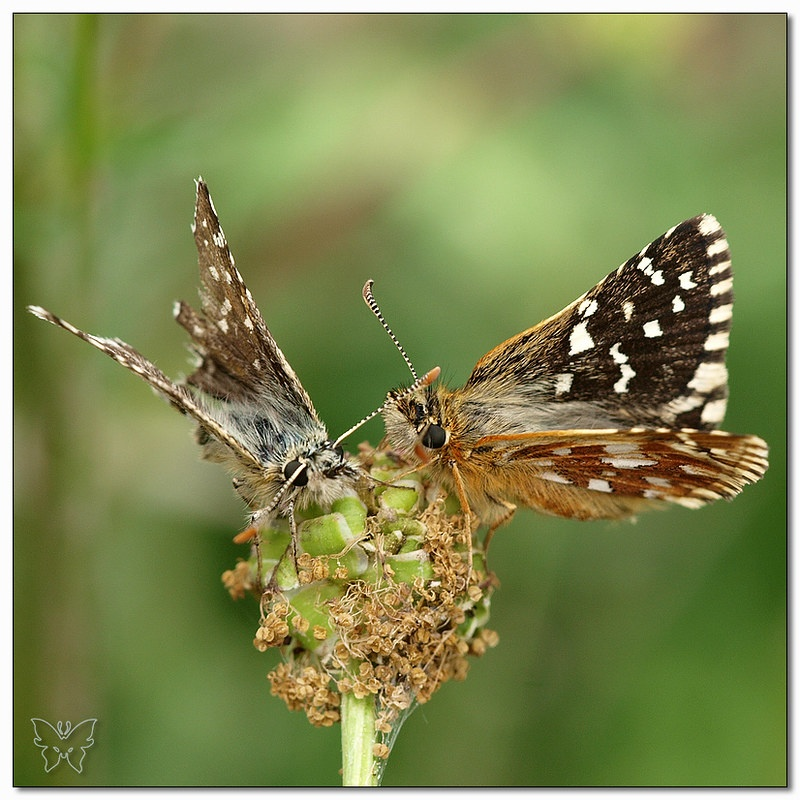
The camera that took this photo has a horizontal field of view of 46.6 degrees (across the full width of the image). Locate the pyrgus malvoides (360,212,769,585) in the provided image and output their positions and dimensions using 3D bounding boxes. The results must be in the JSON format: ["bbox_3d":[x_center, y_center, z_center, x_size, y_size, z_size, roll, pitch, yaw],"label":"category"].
[{"bbox_3d":[0.749,-0.018,3.588,1.340,1.449,1.000,8,4,28],"label":"pyrgus malvoides"}]

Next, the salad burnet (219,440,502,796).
[{"bbox_3d":[-0.166,0.725,3.310,0.762,1.042,0.840,0,-1,-9],"label":"salad burnet"}]
